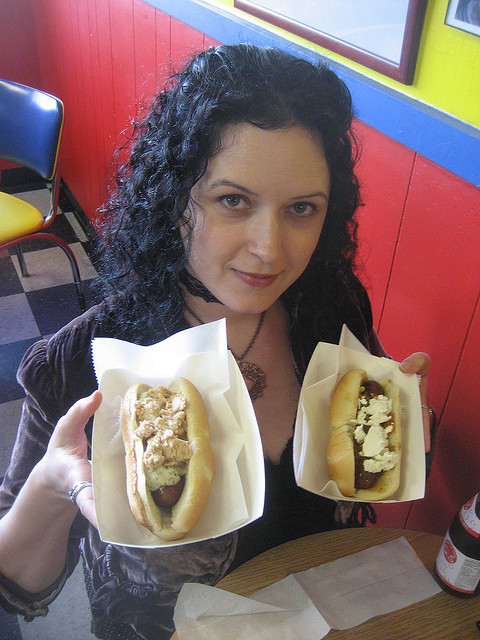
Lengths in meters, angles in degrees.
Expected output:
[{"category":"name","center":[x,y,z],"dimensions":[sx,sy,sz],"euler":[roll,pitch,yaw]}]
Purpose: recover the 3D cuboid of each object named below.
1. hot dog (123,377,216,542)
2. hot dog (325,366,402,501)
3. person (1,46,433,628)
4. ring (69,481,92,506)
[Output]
[{"category":"hot dog","center":[-0.113,0.198,0.797],"dimensions":[0.133,0.081,0.254],"euler":[-10,49,-5]},{"category":"hot dog","center":[0.218,0.197,0.899],"dimensions":[0.111,0.061,0.206],"euler":[10,63,7]},{"category":"person","center":[-0.148,0.103,1.147],"dimensions":[0.918,1.138,0.444],"euler":[-7,19,-26]},{"category":"ring","center":[-0.236,0.254,0.763],"dimensions":[0.027,0.014,0.036],"euler":[1,57,0]}]
